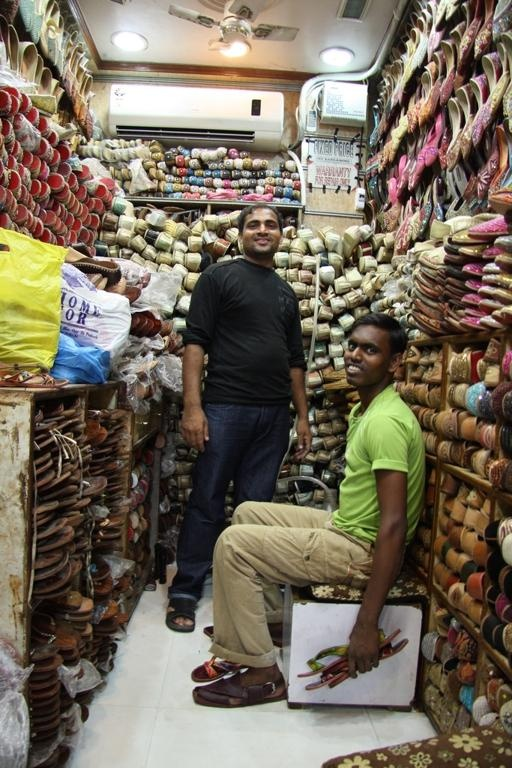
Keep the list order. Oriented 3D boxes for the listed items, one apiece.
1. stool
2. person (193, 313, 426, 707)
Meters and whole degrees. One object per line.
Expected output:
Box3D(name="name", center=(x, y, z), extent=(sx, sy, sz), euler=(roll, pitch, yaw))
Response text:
Box3D(name="stool", center=(0.270, 0.756, 1.555), extent=(0.357, 0.282, 0.366), euler=(2, -11, 2))
Box3D(name="person", center=(0.155, 0.371, 1.583), extent=(0.625, 1.147, 0.518), euler=(3, 1, 6))
